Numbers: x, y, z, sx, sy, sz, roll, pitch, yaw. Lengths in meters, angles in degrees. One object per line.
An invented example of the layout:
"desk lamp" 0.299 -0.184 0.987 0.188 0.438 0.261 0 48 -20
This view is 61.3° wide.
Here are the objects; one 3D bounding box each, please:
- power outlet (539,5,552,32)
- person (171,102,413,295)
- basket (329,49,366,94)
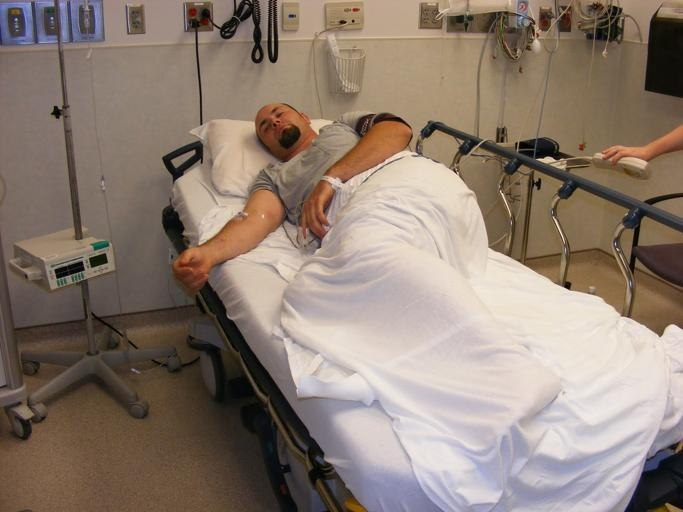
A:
"power outlet" 1.195 -1.389 3.373 0.091 0.132 0.026 -6 18 -19
"person" -0.205 -0.289 2.699 0.193 0.910 0.747 -12 55 25
"basket" 0.023 -1.015 3.151 0.158 0.236 0.216 -5 26 -8
